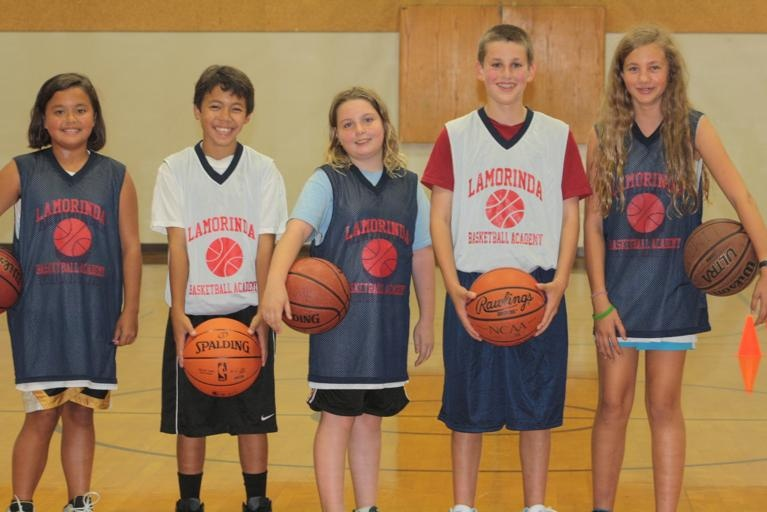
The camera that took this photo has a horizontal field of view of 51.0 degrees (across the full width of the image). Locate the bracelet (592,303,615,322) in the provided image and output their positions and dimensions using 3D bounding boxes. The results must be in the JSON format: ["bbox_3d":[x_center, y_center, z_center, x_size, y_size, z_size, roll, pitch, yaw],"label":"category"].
[{"bbox_3d":[1.145,0.293,4.145,0.106,0.081,0.052,-1,1,12],"label":"bracelet"}]

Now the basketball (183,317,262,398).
[{"bbox_3d":[-0.847,0.529,4.210,0.421,0.414,0.327,2,-4,-12],"label":"basketball"}]

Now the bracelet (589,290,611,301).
[{"bbox_3d":[1.125,0.201,4.179,0.051,0.021,0.056,-10,44,5],"label":"bracelet"}]

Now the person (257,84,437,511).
[{"bbox_3d":[-0.156,0.227,4.100,0.908,2.215,0.360,-1,1,-10],"label":"person"}]

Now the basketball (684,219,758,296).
[{"bbox_3d":[1.692,0.034,4.206,0.386,0.440,0.376,4,-6,-16],"label":"basketball"}]
